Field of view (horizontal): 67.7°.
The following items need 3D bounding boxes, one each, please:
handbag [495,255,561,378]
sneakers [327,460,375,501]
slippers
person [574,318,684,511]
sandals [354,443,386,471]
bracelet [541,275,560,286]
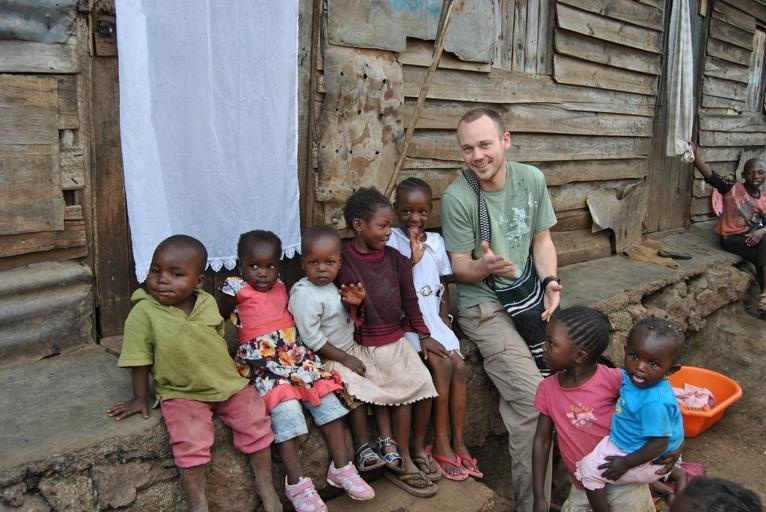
[{"bbox_3d":[1.146,0.433,4.407,0.438,0.732,0.205,-21,2,-37],"label":"handbag"},{"bbox_3d":[-0.214,1.428,3.664,0.370,0.181,0.141,10,7,39],"label":"sneakers"},{"bbox_3d":[0.368,1.477,3.988,0.330,0.104,0.340,-17,16,-40],"label":"slippers"},{"bbox_3d":[1.506,1.003,3.502,0.603,1.222,0.319,0,10,26],"label":"person"},{"bbox_3d":[-0.088,1.331,3.776,0.124,0.116,0.239,-4,-4,-22],"label":"sandals"},{"bbox_3d":[1.317,0.204,4.401,0.088,0.042,0.091,-34,21,-20],"label":"bracelet"}]
